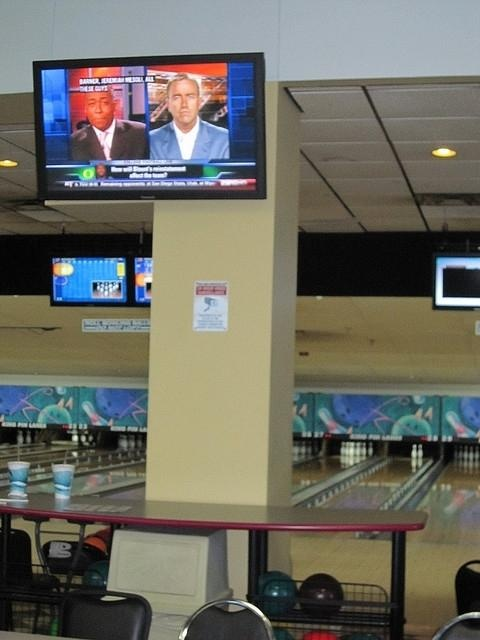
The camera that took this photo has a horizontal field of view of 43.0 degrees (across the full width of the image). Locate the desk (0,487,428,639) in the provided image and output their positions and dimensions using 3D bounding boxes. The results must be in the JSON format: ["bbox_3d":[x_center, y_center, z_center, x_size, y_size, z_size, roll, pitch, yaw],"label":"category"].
[{"bbox_3d":[-0.126,0.872,2.290,1.574,0.376,0.623,0,-7,17],"label":"desk"}]
